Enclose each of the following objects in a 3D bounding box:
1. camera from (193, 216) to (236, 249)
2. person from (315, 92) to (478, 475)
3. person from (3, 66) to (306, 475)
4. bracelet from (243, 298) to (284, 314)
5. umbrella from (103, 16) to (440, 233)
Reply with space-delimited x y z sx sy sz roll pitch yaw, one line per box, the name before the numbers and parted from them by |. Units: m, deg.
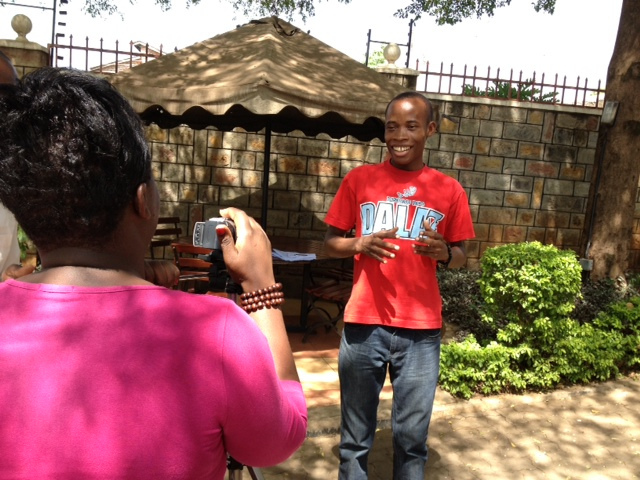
camera | -0.299 -0.016 1.375 0.073 0.104 0.195 -2 11 -32
person | 0.373 0.220 2.661 0.796 2.024 0.576 5 9 11
person | -0.354 0.072 1.118 0.613 0.879 0.429 -2 10 -31
bracelet | -0.144 0.166 1.264 0.060 0.020 0.052 -16 -2 11
umbrella | -0.685 -1.236 6.155 3.197 2.483 3.391 19 16 42
